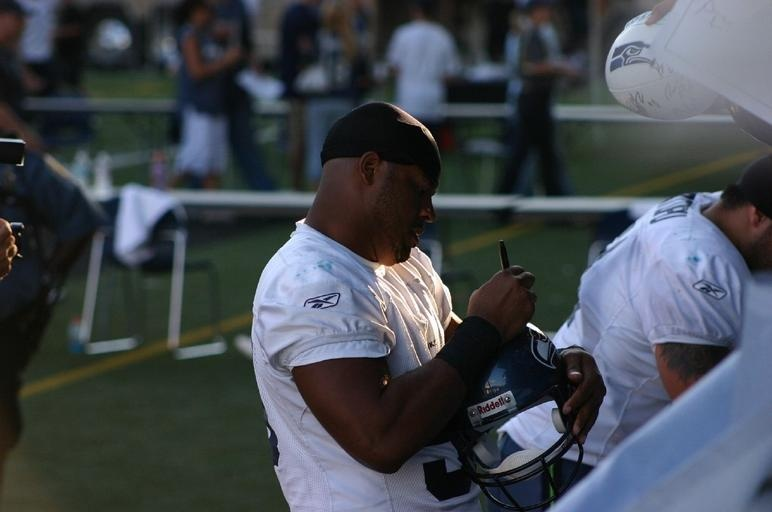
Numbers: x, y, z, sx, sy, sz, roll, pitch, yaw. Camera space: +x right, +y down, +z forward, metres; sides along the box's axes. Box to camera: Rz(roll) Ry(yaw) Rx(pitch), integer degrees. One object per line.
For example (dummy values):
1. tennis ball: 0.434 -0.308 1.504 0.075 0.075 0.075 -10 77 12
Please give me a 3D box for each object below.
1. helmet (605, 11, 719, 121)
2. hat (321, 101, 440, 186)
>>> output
1. helmet: 1.309 -0.908 5.351 0.437 0.576 0.595 -15 19 -28
2. hat: -0.053 -0.526 5.338 0.540 0.413 0.454 6 -10 -3
